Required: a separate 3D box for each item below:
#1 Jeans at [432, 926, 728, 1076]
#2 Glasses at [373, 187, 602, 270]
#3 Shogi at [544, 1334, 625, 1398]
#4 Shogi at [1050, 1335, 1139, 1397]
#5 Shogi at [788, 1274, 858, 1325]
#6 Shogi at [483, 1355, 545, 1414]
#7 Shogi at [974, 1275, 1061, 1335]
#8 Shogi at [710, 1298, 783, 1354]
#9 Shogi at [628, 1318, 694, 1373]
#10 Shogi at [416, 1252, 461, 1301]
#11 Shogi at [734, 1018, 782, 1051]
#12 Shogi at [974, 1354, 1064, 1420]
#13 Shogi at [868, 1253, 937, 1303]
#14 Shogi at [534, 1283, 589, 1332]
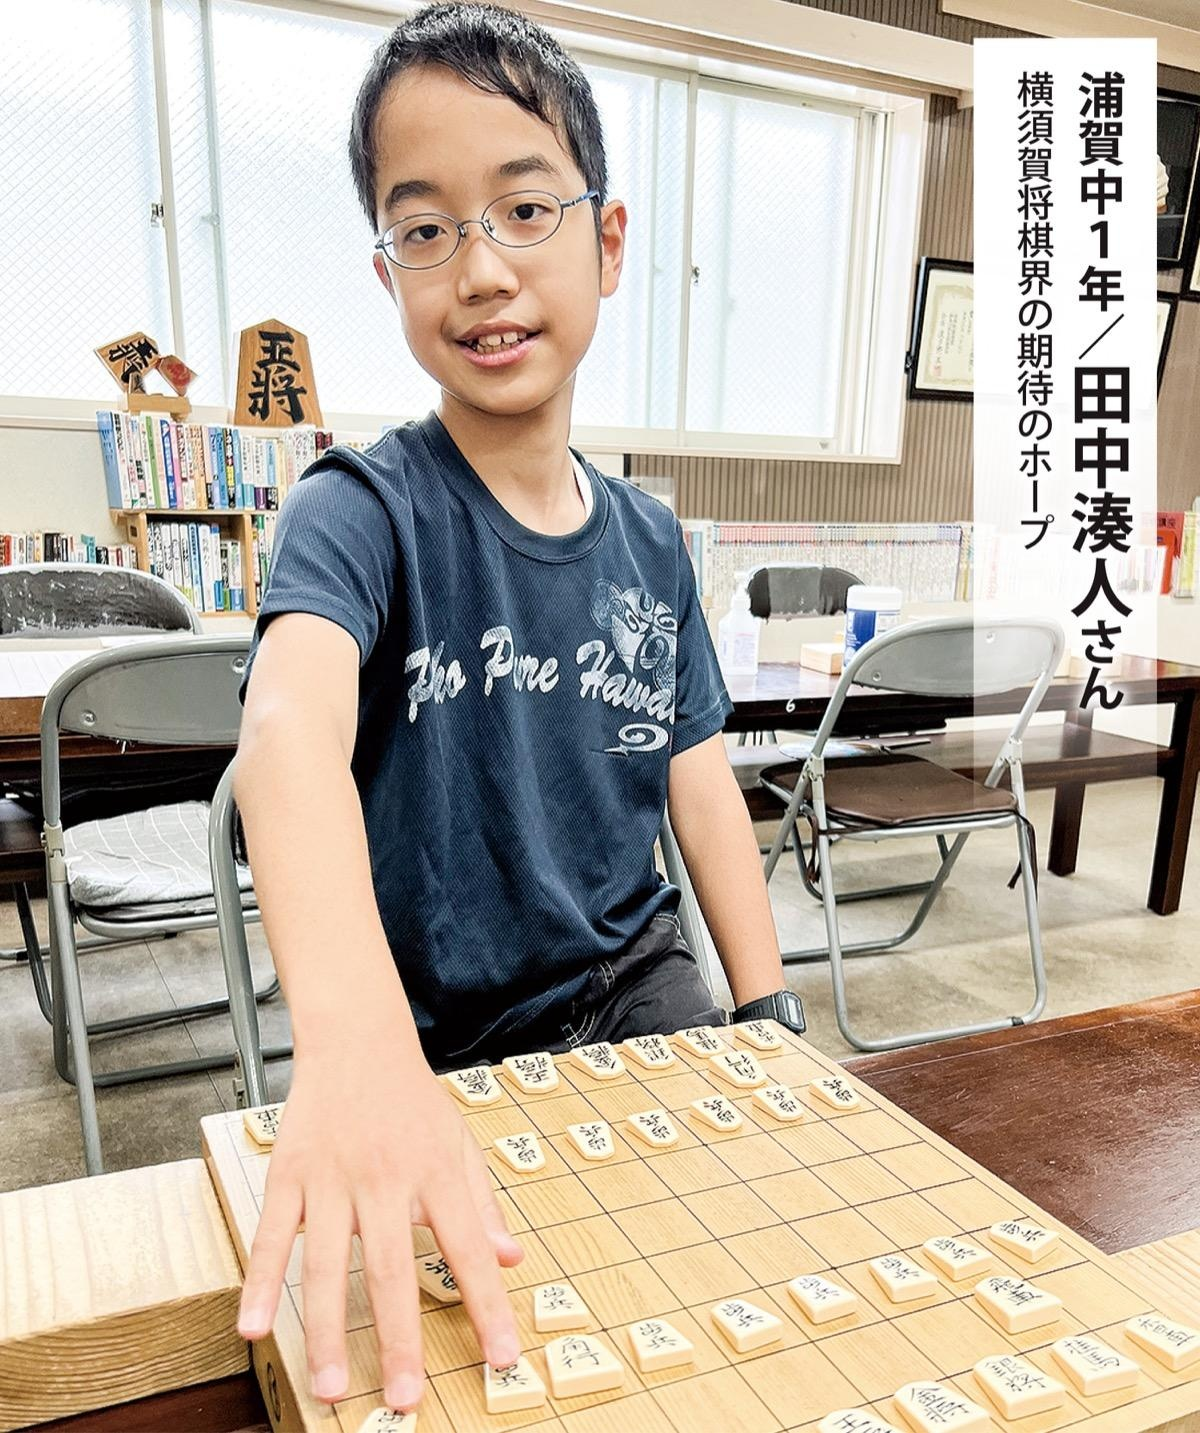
[{"bbox_3d":[-0.002,0.246,1.014,0.229,0.072,0.272,-14,-18,-29],"label":"Jeans"},{"bbox_3d":[-0.087,-0.332,0.738,0.118,0.060,0.034,4,5,-1],"label":"Glasses"},{"bbox_3d":[-0.005,0.222,0.375,0.026,0.009,0.026,3,5,-10],"label":"Shogi"},{"bbox_3d":[0.174,0.228,0.381,0.025,0.006,0.023,1,5,-28],"label":"Shogi"},{"bbox_3d":[0.084,0.220,0.413,0.022,0.008,0.021,2,5,-27],"label":"Shogi"},{"bbox_3d":[-0.029,0.222,0.362,0.021,0.007,0.021,2,5,-20],"label":"Shogi"},{"bbox_3d":[0.159,0.223,0.414,0.026,0.011,0.026,1,6,-32],"label":"Shogi"},{"bbox_3d":[0.053,0.220,0.395,0.020,0.008,0.025,1,6,-35],"label":"Shogi"},{"bbox_3d":[0.020,0.222,0.385,0.021,0.007,0.021,2,5,-22],"label":"Shogi"},{"bbox_3d":[-0.063,0.218,0.419,0.017,0.004,0.016,4,42,-48],"label":"Shogi"},{"bbox_3d":[0.095,0.191,0.648,0.018,0.007,0.019,-3,8,-21],"label":"Shogi"},{"bbox_3d":[0.144,0.228,0.372,0.027,0.005,0.022,2,5,-22],"label":"Shogi"},{"bbox_3d":[0.119,0.219,0.426,0.025,0.008,0.021,2,5,-25],"label":"Shogi"},{"bbox_3d":[-0.014,0.222,0.408,0.021,0.007,0.022,3,5,-8],"label":"Shogi"}]
